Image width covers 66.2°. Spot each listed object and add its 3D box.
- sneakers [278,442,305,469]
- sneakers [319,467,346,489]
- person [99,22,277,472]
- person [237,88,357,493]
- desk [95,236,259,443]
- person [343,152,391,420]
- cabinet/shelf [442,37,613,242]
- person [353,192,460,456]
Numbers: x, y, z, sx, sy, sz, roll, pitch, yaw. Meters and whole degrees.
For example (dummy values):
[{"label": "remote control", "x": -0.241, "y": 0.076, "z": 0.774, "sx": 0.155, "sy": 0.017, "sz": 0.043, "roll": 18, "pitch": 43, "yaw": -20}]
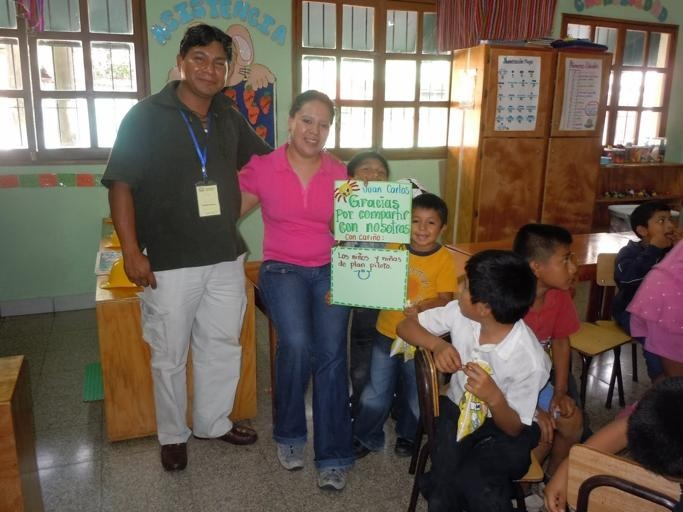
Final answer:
[{"label": "sneakers", "x": -0.261, "y": 1.052, "z": 2.739, "sx": 0.077, "sy": 0.090, "sz": 0.199, "roll": 1, "pitch": -2, "yaw": -17}, {"label": "sneakers", "x": -0.052, "y": 1.110, "z": 2.652, "sx": 0.154, "sy": 0.112, "sz": 0.116, "roll": -1, "pitch": 15, "yaw": 3}, {"label": "person", "x": -0.786, "y": -0.016, "z": 2.708, "sx": 0.729, "sy": 2.218, "sz": 0.374, "roll": -9, "pitch": 16, "yaw": -25}, {"label": "person", "x": -0.220, "y": 0.138, "z": 2.694, "sx": 0.820, "sy": 1.919, "sz": 0.654, "roll": 0, "pitch": -2, "yaw": -25}, {"label": "desk", "x": -0.983, "y": 0.591, "z": 3.345, "sx": 0.782, "sy": 0.931, "sz": 1.209, "roll": -2, "pitch": 14, "yaw": -10}, {"label": "person", "x": 0.090, "y": 0.162, "z": 2.964, "sx": 0.278, "sy": 1.398, "sz": 0.352, "roll": 2, "pitch": 12, "yaw": 2}, {"label": "cabinet/shelf", "x": 2.048, "y": -1.218, "z": 5.790, "sx": 1.686, "sy": 2.091, "sz": 0.539, "roll": -5, "pitch": 15, "yaw": -12}, {"label": "person", "x": 0.299, "y": 0.420, "z": 2.705, "sx": 0.469, "sy": 1.543, "sz": 0.474, "roll": 11, "pitch": 18, "yaw": 19}]
